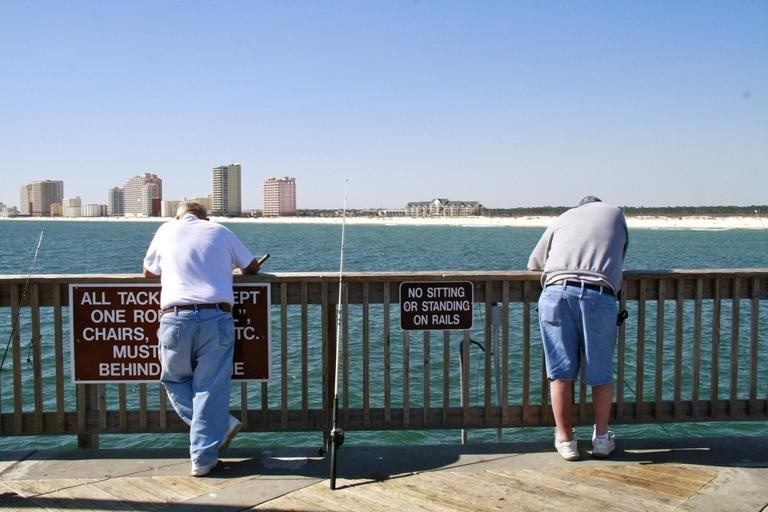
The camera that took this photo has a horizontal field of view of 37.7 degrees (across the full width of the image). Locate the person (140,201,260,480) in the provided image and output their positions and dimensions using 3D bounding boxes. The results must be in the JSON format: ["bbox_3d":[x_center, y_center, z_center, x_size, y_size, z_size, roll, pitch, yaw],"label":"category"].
[{"bbox_3d":[-1.677,0.818,10.157,0.861,2.271,0.363,-1,2,-6],"label":"person"}]

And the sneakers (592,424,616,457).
[{"bbox_3d":[2.025,1.714,10.492,0.179,0.127,0.388,-2,3,18],"label":"sneakers"}]

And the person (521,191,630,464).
[{"bbox_3d":[1.811,0.649,10.394,0.873,2.393,0.387,-1,2,7],"label":"person"}]

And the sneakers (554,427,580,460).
[{"bbox_3d":[1.671,1.757,10.301,0.174,0.126,0.375,-3,1,6],"label":"sneakers"}]
